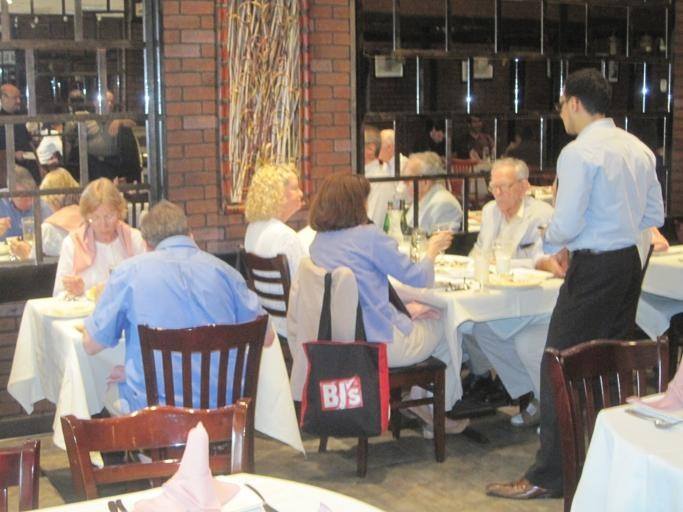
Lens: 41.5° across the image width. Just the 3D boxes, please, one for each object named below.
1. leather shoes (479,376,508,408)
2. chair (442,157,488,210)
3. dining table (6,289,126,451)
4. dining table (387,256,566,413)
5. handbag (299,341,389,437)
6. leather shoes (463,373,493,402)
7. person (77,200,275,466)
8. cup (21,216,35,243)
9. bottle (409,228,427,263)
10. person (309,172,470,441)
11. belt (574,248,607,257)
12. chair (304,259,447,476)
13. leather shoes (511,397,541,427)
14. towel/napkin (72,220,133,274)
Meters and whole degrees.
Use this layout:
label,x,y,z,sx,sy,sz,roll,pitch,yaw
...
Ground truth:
label,x,y,z,sx,sy,sz,roll,pitch,yaw
leather shoes,0.948,0.824,5.483,0.082,0.197,0.242,-2,-1,-36
chair,0.901,-0.520,6.527,0.299,0.532,0.313,-2,3,-25
dining table,-1.394,0.564,4.456,0.691,0.429,0.702,2,7,-27
dining table,0.754,0.384,4.969,0.725,0.531,0.960,-4,13,-22
handbag,0.024,0.663,4.498,0.393,0.467,0.174,0,-1,4
leather shoes,0.827,0.799,5.509,0.259,0.131,0.091,2,-3,-28
person,-0.813,0.319,4.190,0.928,1.483,0.774,-5,33,-14
cup,-1.850,-0.159,5.298,0.072,0.138,0.273,-5,7,-20
bottle,0.494,-0.049,5.455,0.062,0.179,0.061,10,2,0
person,0.284,0.304,4.994,0.749,1.612,0.579,-14,10,-34
belt,1.177,-0.017,4.287,0.171,0.033,0.041,3,9,41
chair,0.313,0.621,5.054,0.568,1.067,0.571,-5,-4,14
leather shoes,1.127,0.931,5.329,0.236,0.120,0.089,-2,3,-32
towel/napkin,-1.324,-0.040,4.942,0.116,0.229,0.208,17,23,41
